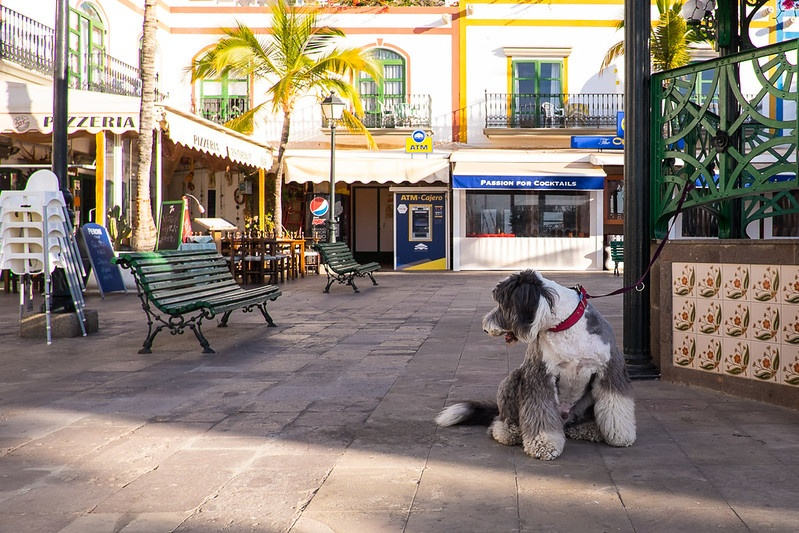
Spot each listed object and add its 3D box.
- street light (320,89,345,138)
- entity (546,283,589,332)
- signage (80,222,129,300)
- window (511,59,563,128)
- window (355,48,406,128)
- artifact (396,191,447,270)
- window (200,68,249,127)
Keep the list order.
[{"bbox_3d":[-1.762,-4.049,19.258,0.682,1.063,0.667,6,10,42],"label":"street light"},{"bbox_3d":[1.345,0.331,5.765,0.199,0.321,0.441,5,8,33],"label":"entity"},{"bbox_3d":[-5.886,-0.147,14.605,0.773,1.520,0.055,0,21,31],"label":"signage"},{"bbox_3d":[4.720,-5.858,25.209,2.320,3.086,0.114,1,-6,-2],"label":"window"},{"bbox_3d":[-0.679,-6.514,25.487,1.676,0.220,2.940,5,-26,1],"label":"window"},{"bbox_3d":[0.704,-1.063,24.324,2.209,3.246,2.149,0,-1,0],"label":"artifact"},{"bbox_3d":[-6.251,-5.954,26.270,1.599,1.558,1.142,-4,8,-26],"label":"window"}]
